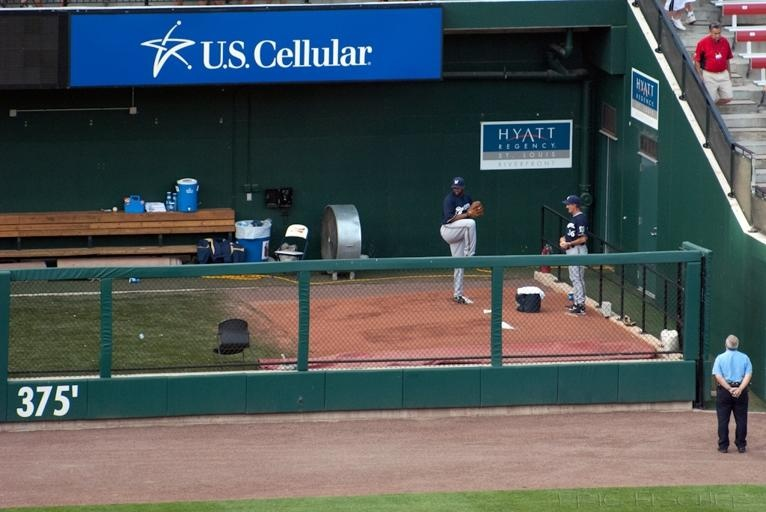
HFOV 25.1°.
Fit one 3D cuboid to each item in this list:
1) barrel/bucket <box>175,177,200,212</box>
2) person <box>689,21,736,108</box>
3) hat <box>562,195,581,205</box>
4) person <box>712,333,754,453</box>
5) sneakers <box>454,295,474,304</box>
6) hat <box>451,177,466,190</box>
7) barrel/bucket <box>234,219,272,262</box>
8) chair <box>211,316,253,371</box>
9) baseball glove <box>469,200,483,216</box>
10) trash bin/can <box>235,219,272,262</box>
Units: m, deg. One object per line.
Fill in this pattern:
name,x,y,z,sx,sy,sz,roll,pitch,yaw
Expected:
barrel/bucket,-4.005,-1.261,34.746,0.726,0.864,0.587,-1,7,-10
person,6.070,-3.526,31.465,0.681,1.500,0.634,0,7,11
hat,3.371,-0.959,30.565,0.317,0.166,0.232,2,10,9
person,5.491,2.173,26.923,0.566,1.829,0.473,0,7,12
sneakers,1.339,0.717,28.280,0.266,0.106,0.132,3,22,-2
hat,1.399,-1.351,31.740,0.197,0.161,0.310,7,8,21
barrel/bucket,-2.612,-0.324,34.747,0.834,0.808,0.707,-2,10,-6
chair,-2.394,1.357,27.633,0.677,0.867,0.695,1,2,-6
baseball glove,1.704,-0.867,31.636,0.256,0.277,0.511,-1,7,1
trash bin/can,-2.618,-0.339,34.848,0.831,0.809,0.711,-2,10,-3
